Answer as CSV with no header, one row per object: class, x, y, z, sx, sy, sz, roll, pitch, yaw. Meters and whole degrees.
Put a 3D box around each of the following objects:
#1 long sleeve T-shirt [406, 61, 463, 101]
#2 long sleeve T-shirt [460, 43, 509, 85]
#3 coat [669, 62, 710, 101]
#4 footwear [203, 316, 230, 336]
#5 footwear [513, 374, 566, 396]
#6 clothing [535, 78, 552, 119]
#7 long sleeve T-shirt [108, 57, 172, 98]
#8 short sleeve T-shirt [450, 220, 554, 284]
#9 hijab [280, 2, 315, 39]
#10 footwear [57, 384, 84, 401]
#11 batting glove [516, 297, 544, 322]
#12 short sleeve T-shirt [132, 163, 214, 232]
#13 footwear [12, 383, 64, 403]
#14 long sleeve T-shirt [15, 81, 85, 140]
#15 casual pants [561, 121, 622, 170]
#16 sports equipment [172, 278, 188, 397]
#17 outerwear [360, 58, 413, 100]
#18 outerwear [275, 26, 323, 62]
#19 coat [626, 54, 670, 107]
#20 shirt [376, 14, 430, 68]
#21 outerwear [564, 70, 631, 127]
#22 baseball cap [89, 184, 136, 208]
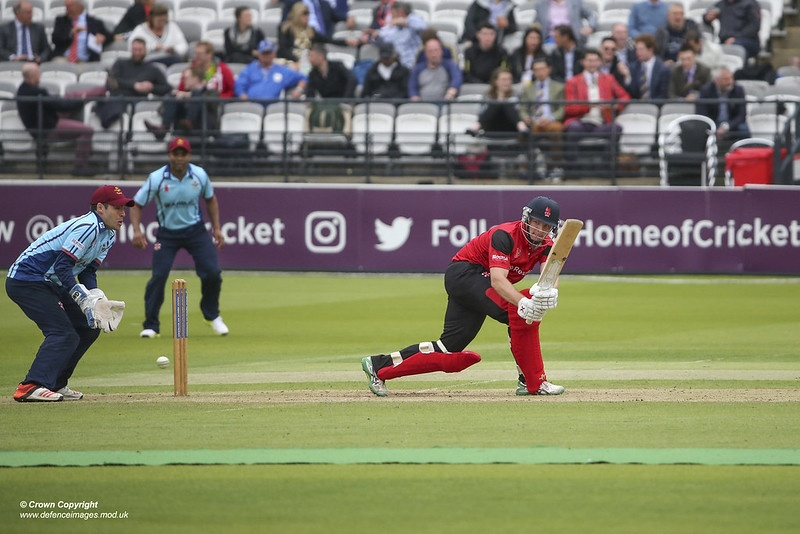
long sleeve T-shirt,0.690,-3.891,33.296,1.357,1.174,0.775,-1,7,-6
long sleeve T-shirt,1.778,-4.220,33.335,0.798,0.932,0.341,2,6,3
coat,5.981,-3.792,32.625,0.701,0.648,0.385,17,16,1
footwear,-3.230,1.021,27.935,0.521,0.214,0.190,33,35,23
footwear,2.065,1.769,23.529,0.796,0.302,0.273,-1,-2,4
clothing,2.933,-3.414,32.517,0.364,0.816,0.231,1,10,3
long sleeve T-shirt,-5.595,-3.934,33.570,1.005,0.921,0.419,-3,-15,-5
short sleeve T-shirt,1.452,-0.214,23.238,1.105,0.399,1.091,-5,-1,30
hijab,-2.291,-5.335,34.363,0.659,0.784,0.818,6,24,12
footwear,-4.901,1.875,23.453,0.387,0.160,0.154,2,5,-9
batting glove,1.852,0.627,22.907,0.395,0.319,0.307,2,8,-2
short sleeve T-shirt,-4.045,-1.168,28.127,1.689,1.169,0.574,-2,1,-9
footwear,-5.344,1.851,23.129,0.773,0.296,0.262,1,-4,-6
long sleeve T-shirt,-7.525,-3.264,33.195,1.535,1.422,0.907,-16,19,-31
casual pants,3.953,-2.733,32.756,1.177,1.285,0.949,-2,15,-4
sports equipment,-3.257,1.068,23.323,0.202,1.753,0.395,-2,10,-13
outerwear,-0.346,-3.810,33.131,1.141,0.993,0.594,-1,1,3
outerwear,-2.187,-4.771,34.180,0.927,0.795,0.551,6,39,-8
coat,5.180,-3.825,33.121,1.410,1.281,0.812,0,1,8
shirt,0.012,-4.776,33.608,1.180,1.223,0.733,-3,-10,28
outerwear,3.960,-3.439,32.687,1.478,1.123,0.854,-4,19,-11
baseball cap,-4.252,-1.024,23.109,0.560,0.269,0.342,-3,5,-5
